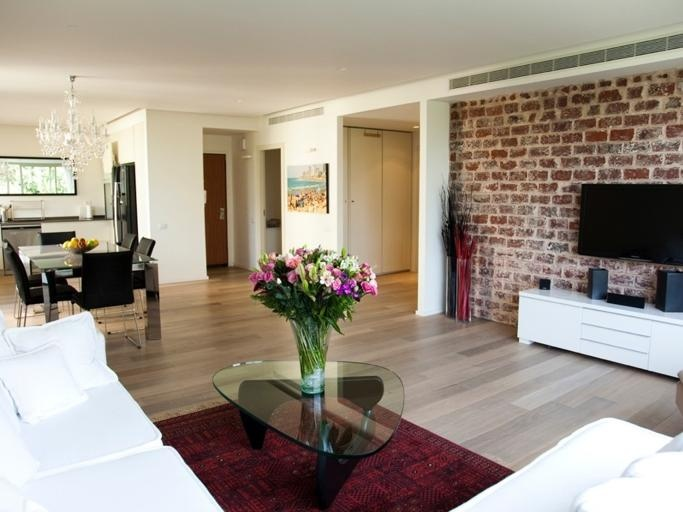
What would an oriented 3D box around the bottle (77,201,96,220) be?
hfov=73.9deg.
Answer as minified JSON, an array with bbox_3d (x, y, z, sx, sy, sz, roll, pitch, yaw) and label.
[{"bbox_3d":[-5.786,-1.044,10.218,0.310,0.330,0.447,-6,11,-29],"label":"bottle"}]

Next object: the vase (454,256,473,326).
[{"bbox_3d":[1.589,0.415,5.811,0.207,0.826,0.180,0,10,1],"label":"vase"}]

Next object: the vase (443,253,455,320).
[{"bbox_3d":[1.441,0.401,5.903,0.130,0.805,0.080,3,10,16],"label":"vase"}]

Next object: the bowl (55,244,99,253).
[{"bbox_3d":[-3.156,-0.068,5.312,0.288,0.073,0.281,2,4,0],"label":"bowl"}]

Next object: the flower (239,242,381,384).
[{"bbox_3d":[-0.174,0.428,2.883,0.758,0.849,0.789,0,-5,-16],"label":"flower"}]

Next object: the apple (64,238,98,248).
[{"bbox_3d":[-3.085,-0.131,5.394,0.278,0.112,0.274,-2,5,-39],"label":"apple"}]

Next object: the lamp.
[{"bbox_3d":[-3.815,-1.818,6.457,0.845,1.306,0.878,36,38,31],"label":"lamp"}]
